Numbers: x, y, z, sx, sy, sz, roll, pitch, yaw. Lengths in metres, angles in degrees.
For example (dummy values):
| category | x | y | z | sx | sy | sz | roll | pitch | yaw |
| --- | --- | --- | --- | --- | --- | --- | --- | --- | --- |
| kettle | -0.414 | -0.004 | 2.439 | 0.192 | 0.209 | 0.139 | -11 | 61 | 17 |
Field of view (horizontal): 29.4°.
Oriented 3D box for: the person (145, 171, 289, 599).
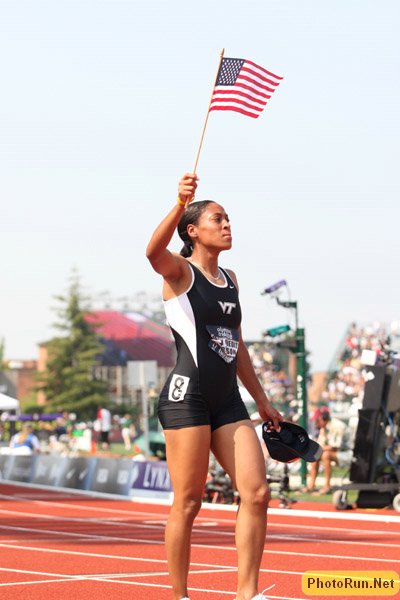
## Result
| category | x | y | z | sx | sy | sz | roll | pitch | yaw |
| --- | --- | --- | --- | --- | --- | --- | --- | --- | --- |
| person | 0.047 | 0.408 | 3.465 | 0.581 | 1.857 | 0.859 | 3 | -6 | 5 |

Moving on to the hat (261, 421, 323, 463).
| category | x | y | z | sx | sy | sz | roll | pitch | yaw |
| --- | --- | --- | --- | --- | --- | --- | --- | --- | --- |
| hat | 0.447 | 0.708 | 3.717 | 0.292 | 0.095 | 0.183 | 21 | 47 | 31 |
